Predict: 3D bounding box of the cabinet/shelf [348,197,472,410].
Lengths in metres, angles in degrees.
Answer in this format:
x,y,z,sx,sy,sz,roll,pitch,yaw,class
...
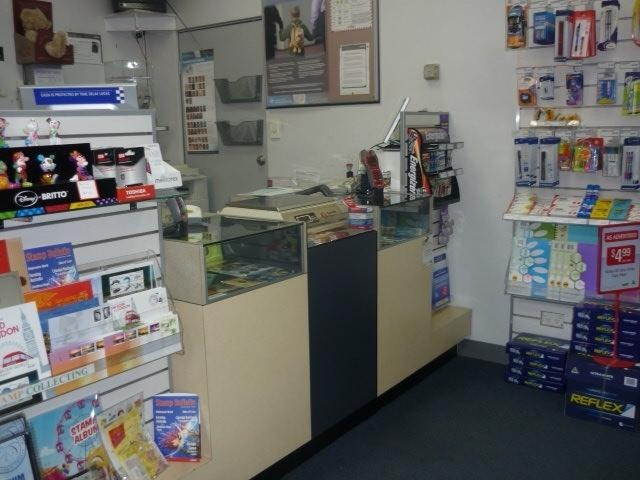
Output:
x,y,z,sx,sy,sz,roll,pitch,yaw,class
0.624,0.467,3.387,0.491,1.298,1.273,2,10,34,cabinet/shelf

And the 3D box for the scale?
x,y,z,sx,sy,sz,roll,pitch,yaw,class
-0.193,-0.180,2.918,0.381,0.135,0.441,7,13,34,scale

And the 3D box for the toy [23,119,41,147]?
x,y,z,sx,sy,sz,roll,pitch,yaw,class
-1.078,-0.399,1.764,0.056,0.094,0.156,-8,15,-30,toy
